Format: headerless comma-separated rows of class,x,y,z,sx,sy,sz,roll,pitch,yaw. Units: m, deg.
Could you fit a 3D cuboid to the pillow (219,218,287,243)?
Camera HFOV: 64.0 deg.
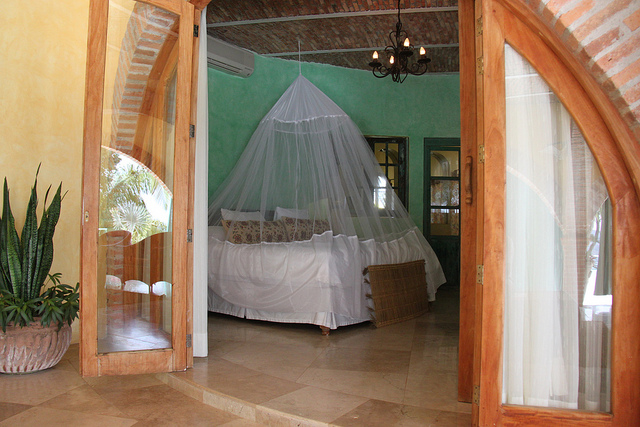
pillow,-0.769,0.253,6.022,0.489,0.327,0.149,-5,-27,6

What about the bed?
bed,0.029,0.642,5.915,2.623,1.092,1.199,-3,11,-13

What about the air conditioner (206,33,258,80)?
air conditioner,-1.322,-2.275,7.505,0.279,0.515,0.971,6,13,32
